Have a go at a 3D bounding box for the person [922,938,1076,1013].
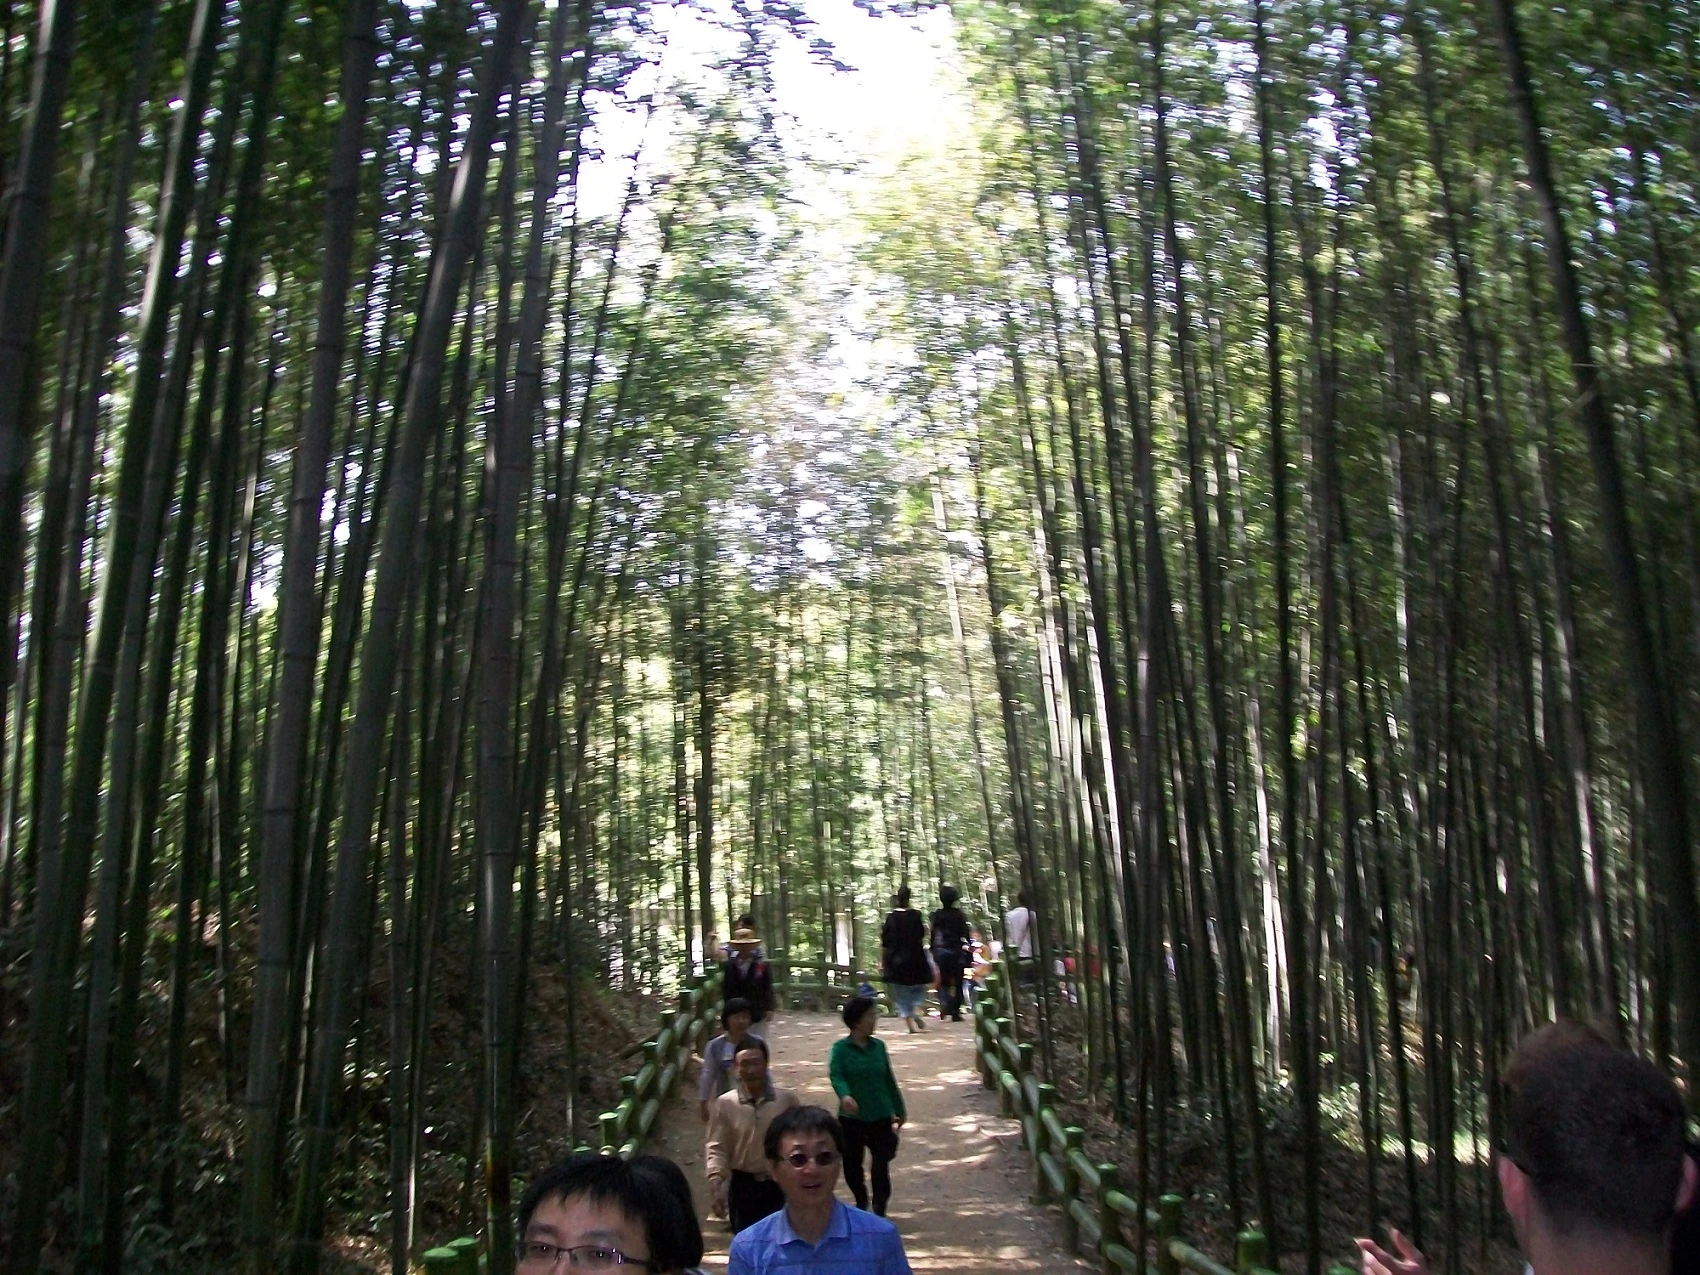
[{"bbox_3d":[1.366,2.898,12.688,1.342,0.517,1.577,-1,-7,21],"label":"person"}]
